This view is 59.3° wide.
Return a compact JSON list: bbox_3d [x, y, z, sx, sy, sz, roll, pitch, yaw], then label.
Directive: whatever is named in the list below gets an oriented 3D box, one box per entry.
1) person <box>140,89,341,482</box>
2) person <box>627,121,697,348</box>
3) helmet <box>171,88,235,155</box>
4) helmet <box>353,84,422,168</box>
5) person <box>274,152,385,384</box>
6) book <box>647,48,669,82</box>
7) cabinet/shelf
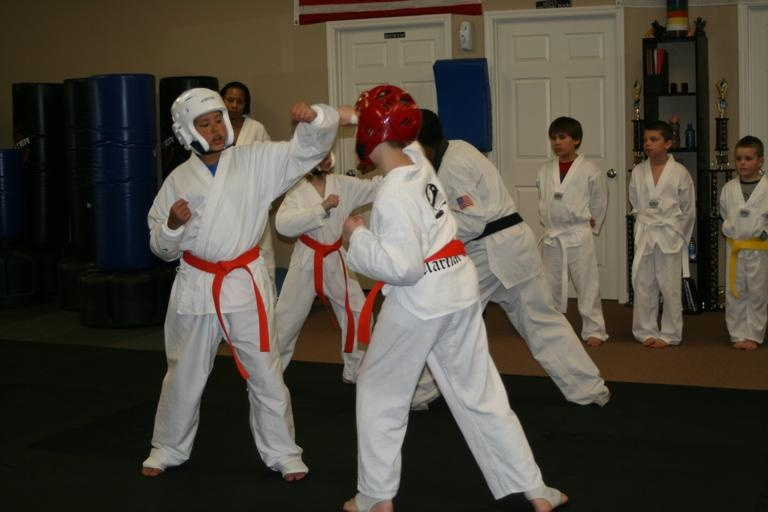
[{"bbox_3d":[-0.847,0.213,3.857,1.058,2.120,0.296,1,8,4],"label":"person"},{"bbox_3d":[2.274,-0.187,5.527,0.510,1.800,0.508,3,8,15],"label":"person"},{"bbox_3d":[-1.032,-0.759,3.870,0.349,0.364,0.302,0,18,26],"label":"helmet"},{"bbox_3d":[0.016,-0.657,3.447,0.394,0.399,0.317,6,17,9],"label":"helmet"},{"bbox_3d":[-0.388,0.094,4.837,0.866,1.683,0.487,1,23,-1],"label":"person"},{"bbox_3d":[2.563,-1.796,6.320,0.261,0.296,0.091,-4,9,-29],"label":"book"},{"bbox_3d":[2.834,-0.788,6.510,0.314,2.445,1.036,-4,6,-40],"label":"cabinet/shelf"}]
